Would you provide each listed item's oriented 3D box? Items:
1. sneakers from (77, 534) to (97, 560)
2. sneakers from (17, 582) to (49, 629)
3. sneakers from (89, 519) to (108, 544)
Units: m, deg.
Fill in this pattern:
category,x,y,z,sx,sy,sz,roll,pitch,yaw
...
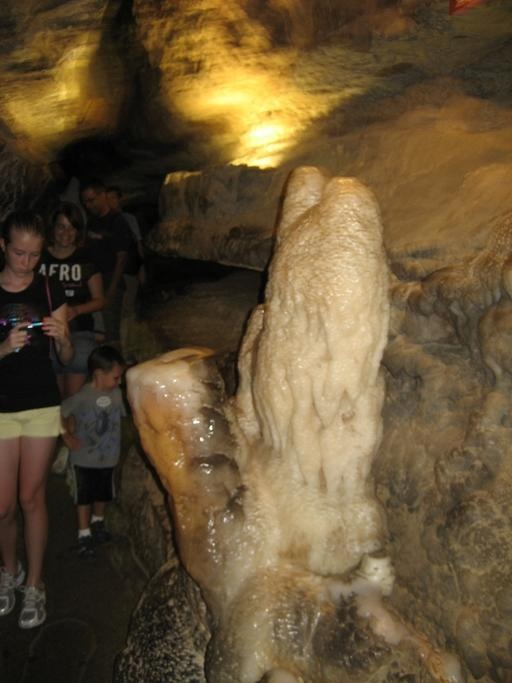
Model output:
category,x,y,z,sx,sy,sz,roll,pitch,yaw
sneakers,-0.905,1.106,4.404,0.085,0.232,0.089,5,74,-24
sneakers,-1.040,1.236,3.842,0.111,0.099,0.236,1,13,-26
sneakers,-0.857,1.042,4.513,0.062,0.162,0.105,5,54,-18
